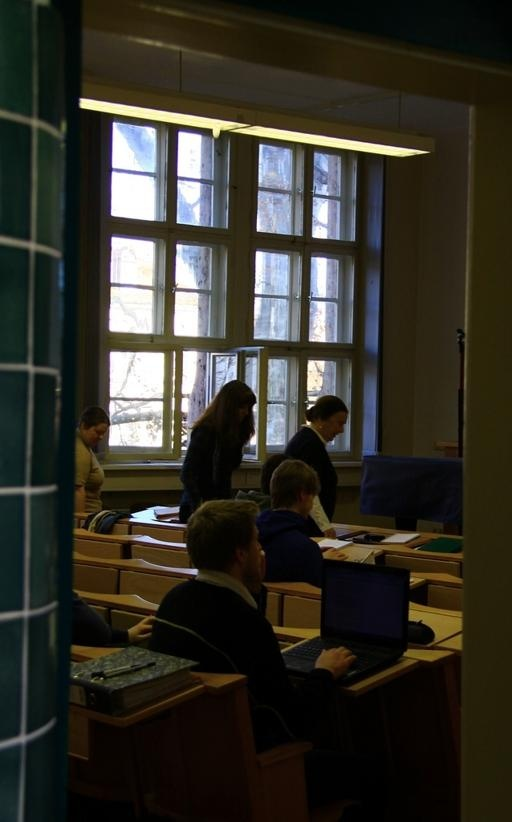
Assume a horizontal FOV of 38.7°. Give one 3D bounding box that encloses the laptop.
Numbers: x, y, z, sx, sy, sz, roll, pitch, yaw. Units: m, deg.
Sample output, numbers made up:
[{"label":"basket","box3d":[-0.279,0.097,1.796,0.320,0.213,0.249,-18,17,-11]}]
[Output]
[{"label":"laptop","box3d":[0.235,0.488,1.887,0.263,0.254,0.281,2,3,44]}]
